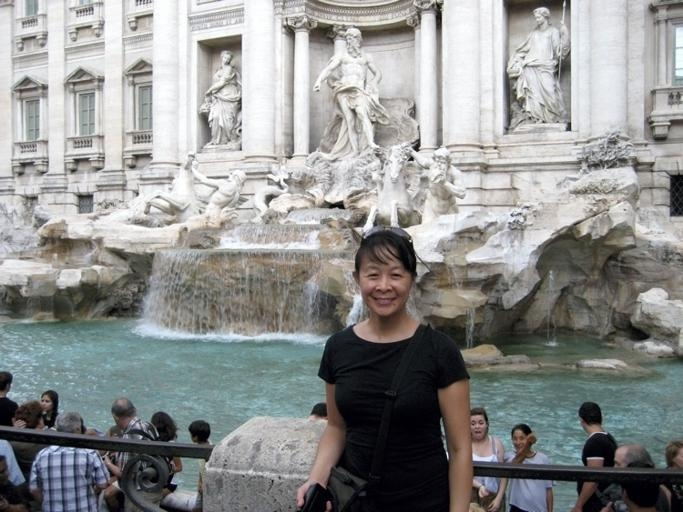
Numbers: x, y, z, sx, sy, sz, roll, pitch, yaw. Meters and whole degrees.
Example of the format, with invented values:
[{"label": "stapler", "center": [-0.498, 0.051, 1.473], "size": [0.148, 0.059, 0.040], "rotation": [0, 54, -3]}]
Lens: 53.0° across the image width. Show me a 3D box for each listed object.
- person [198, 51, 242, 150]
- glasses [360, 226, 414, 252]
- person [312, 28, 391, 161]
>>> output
[{"label": "person", "center": [-3.726, -4.779, 21.388], "size": [1.327, 2.920, 0.701], "rotation": [-3, -4, 28]}, {"label": "glasses", "center": [0.272, -0.092, 3.753], "size": [0.175, 0.164, 0.052], "rotation": [4, 28, 10]}, {"label": "person", "center": [0.335, -4.523, 18.854], "size": [1.595, 3.532, 1.200], "rotation": [-2, -3, 6]}]
